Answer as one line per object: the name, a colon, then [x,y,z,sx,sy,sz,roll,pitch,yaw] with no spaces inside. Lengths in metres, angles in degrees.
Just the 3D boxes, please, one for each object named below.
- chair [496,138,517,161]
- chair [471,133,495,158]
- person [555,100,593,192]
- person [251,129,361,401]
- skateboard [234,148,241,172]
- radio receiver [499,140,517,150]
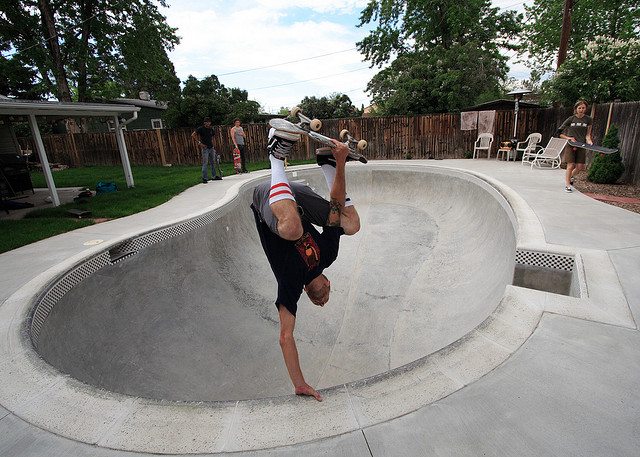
chair: [7.410,-3.166,13.445,0.657,0.787,1.667,7,20,27]
chair: [6.995,-3.593,14.527,1.012,1.417,1.007,5,14,25]
person: [5.328,-1.781,7.159,0.626,1.833,1.425,11,22,35]
person: [-0.081,0.557,3.182,0.945,2.899,1.071,-6,19,-12]
skateboard: [-2.760,-2.305,11.327,0.182,0.835,0.421,-9,19,-18]
radio receiver: [7.292,-3.283,13.148,0.537,0.341,0.774,6,14,39]
